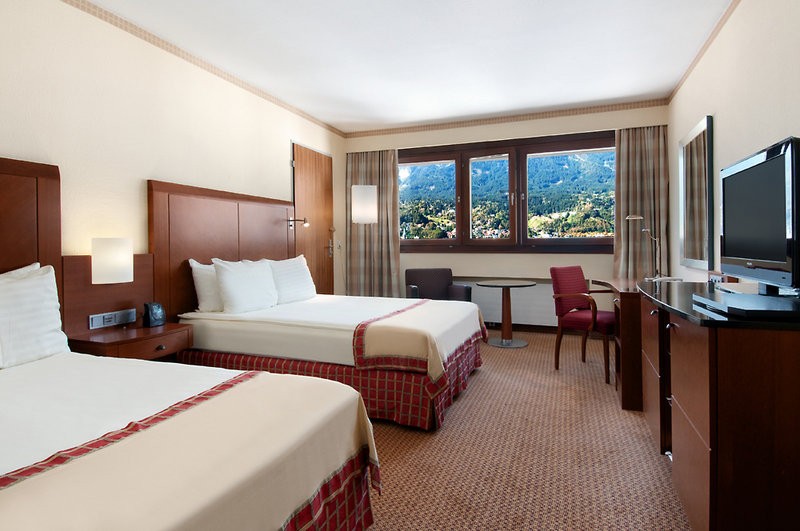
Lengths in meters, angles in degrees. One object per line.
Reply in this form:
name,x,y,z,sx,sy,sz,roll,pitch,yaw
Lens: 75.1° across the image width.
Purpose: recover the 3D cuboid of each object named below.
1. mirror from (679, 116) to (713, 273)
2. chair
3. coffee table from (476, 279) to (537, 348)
mirror,3.018,-0.730,5.300,0.080,1.637,1.690,-1,-2,17
chair,2.020,0.572,5.819,0.691,1.123,1.590,3,14,18
coffee table,1.333,0.572,6.727,0.799,0.815,0.800,-1,4,5
